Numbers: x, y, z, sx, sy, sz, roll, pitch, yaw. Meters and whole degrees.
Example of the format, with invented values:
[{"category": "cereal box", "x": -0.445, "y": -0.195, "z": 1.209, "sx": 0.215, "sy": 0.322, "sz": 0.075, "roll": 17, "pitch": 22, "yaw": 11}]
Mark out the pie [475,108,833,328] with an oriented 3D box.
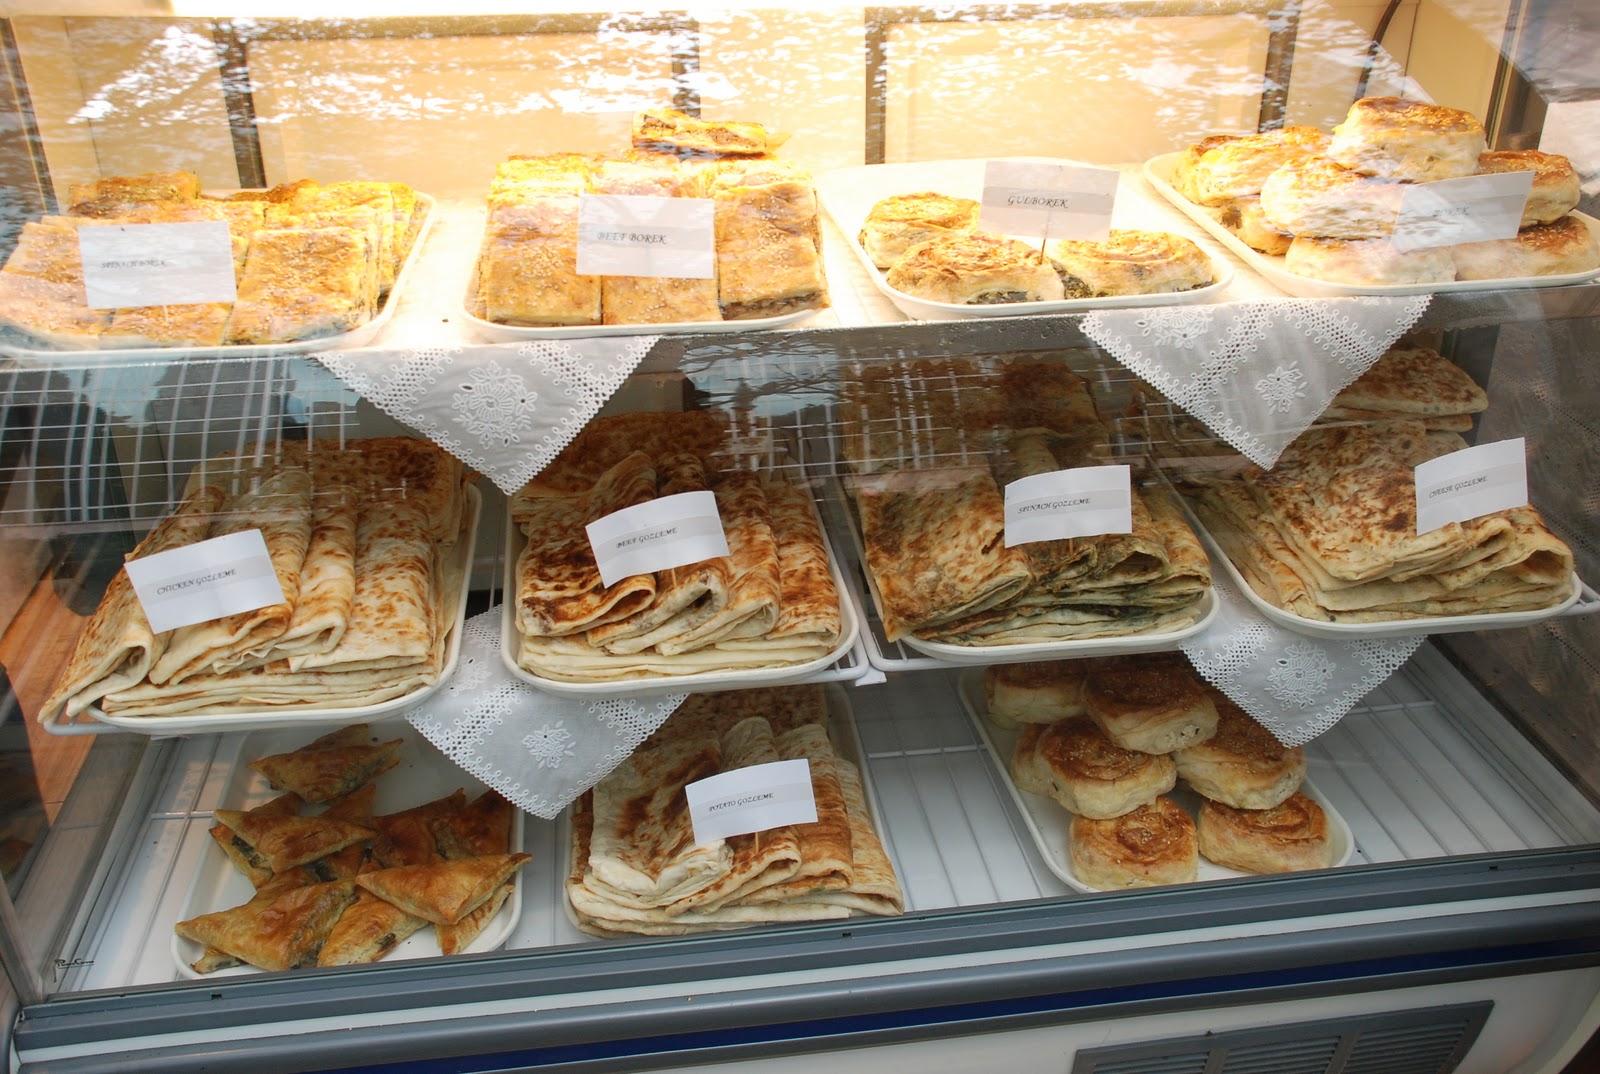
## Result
[{"category": "pie", "x": -0.211, "y": -0.416, "z": 1.412, "sx": 0.470, "sy": 0.230, "sz": 0.264, "roll": -2, "pitch": 43, "yaw": -3}]
